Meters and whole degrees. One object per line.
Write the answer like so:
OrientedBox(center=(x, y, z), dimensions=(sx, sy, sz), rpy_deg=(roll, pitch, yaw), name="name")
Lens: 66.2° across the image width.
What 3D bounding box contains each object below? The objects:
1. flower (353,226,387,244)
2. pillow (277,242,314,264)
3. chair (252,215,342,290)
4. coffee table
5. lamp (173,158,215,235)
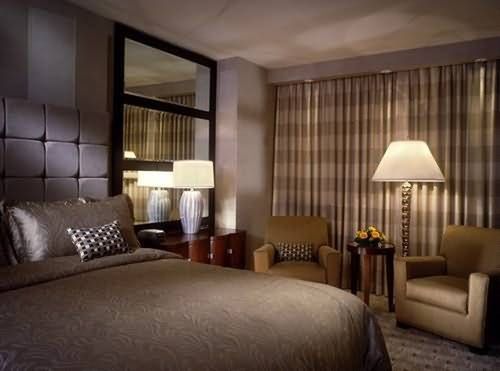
OrientedBox(center=(1.364, 0.574, 4.303), dimensions=(0.271, 0.184, 0.273), rpy_deg=(1, -2, 44), name="flower")
OrientedBox(center=(0.535, 0.806, 4.548), dimensions=(0.363, 0.216, 0.097), rpy_deg=(-1, -18, -1), name="pillow")
OrientedBox(center=(0.545, 0.908, 4.517), dimensions=(0.917, 1.066, 0.798), rpy_deg=(0, -1, 4), name="chair")
OrientedBox(center=(1.442, 1.003, 4.316), dimensions=(0.467, 0.587, 0.463), rpy_deg=(1, -6, -16), name="coffee table")
OrientedBox(center=(-0.695, 0.144, 4.555), dimensions=(0.527, 0.833, 0.534), rpy_deg=(-1, -5, 13), name="lamp")
